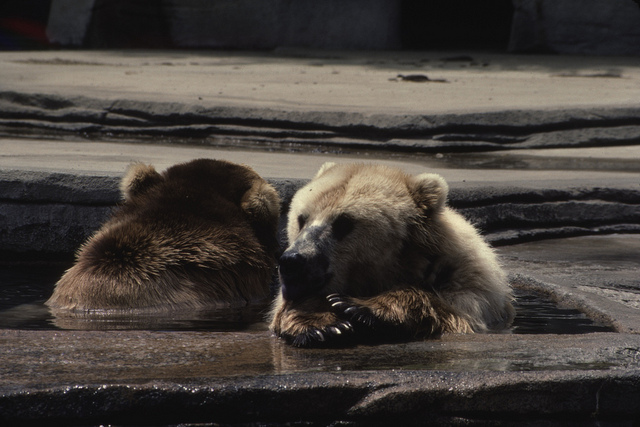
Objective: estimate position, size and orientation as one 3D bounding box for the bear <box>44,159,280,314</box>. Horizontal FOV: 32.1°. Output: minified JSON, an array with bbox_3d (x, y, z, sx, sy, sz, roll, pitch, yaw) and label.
[{"bbox_3d":[-1.196,0.175,9.236,1.621,1.349,0.577,6,-12,-30],"label":"bear"}]
